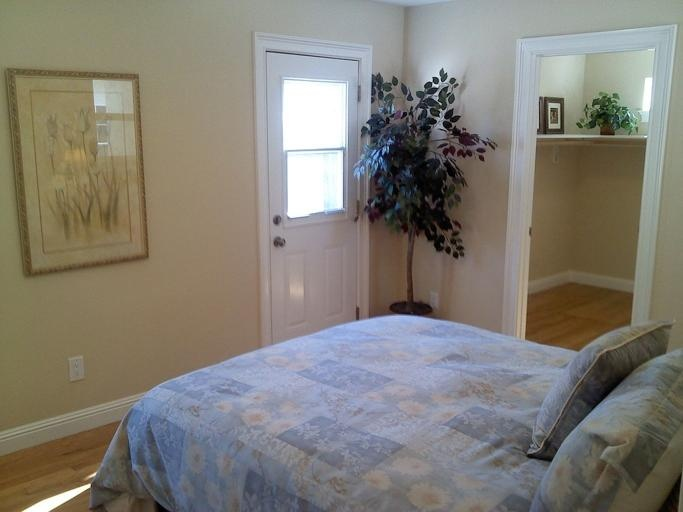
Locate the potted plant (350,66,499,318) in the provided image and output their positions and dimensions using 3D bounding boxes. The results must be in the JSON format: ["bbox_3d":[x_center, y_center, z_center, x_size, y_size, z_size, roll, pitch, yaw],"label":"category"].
[{"bbox_3d":[0.688,-0.495,4.503,1.050,2.141,0.670,2,13,16],"label":"potted plant"}]

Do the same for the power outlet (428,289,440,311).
[{"bbox_3d":[0.855,0.399,4.784,0.027,0.308,0.160,-5,6,-29],"label":"power outlet"}]

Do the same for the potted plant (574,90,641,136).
[{"bbox_3d":[2.926,-1.548,5.739,0.481,0.380,0.505,-7,18,-20],"label":"potted plant"}]
